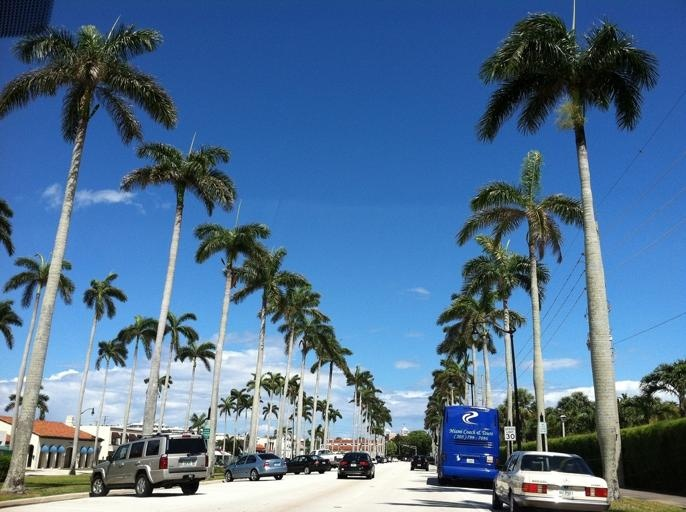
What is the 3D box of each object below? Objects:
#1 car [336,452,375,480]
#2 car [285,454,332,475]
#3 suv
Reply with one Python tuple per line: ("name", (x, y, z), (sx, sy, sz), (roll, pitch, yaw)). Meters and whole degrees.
("car", (0.944, 15.694, 33.746), (2.441, 1.762, 1.438), (5, -21, -9))
("car", (-3.216, 19.986, 43.245), (2.559, 1.576, 3.822), (-14, -26, 34))
("suv", (-8.633, 9.236, 19.975), (5.047, 2.534, 1.889), (-5, -21, 16))
